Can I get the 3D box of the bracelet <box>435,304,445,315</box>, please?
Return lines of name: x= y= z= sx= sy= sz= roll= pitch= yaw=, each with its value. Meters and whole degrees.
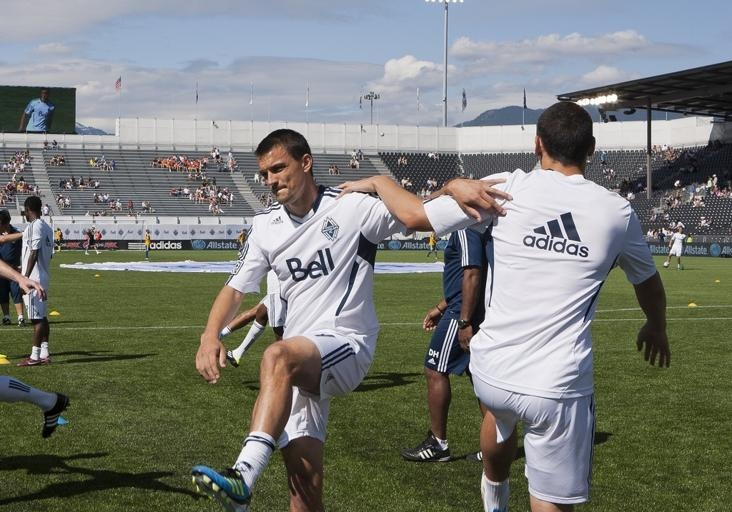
bracelet: x=0.795 y=0.585 z=9.531 sx=0.117 sy=0.053 sz=0.160 roll=2 pitch=2 yaw=6

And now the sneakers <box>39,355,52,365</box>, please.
sneakers: x=-4.498 y=1.466 z=12.337 sx=0.108 sy=0.099 sz=0.174 roll=1 pitch=-8 yaw=-15

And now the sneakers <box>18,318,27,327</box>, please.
sneakers: x=-6.349 y=1.231 z=16.223 sx=0.111 sy=0.137 sz=0.319 roll=0 pitch=-3 yaw=-12

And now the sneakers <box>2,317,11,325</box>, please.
sneakers: x=-6.632 y=1.206 z=16.269 sx=0.093 sy=0.113 sz=0.264 roll=0 pitch=-6 yaw=-29

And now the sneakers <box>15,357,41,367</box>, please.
sneakers: x=-4.694 y=1.483 z=12.236 sx=0.343 sy=0.126 sz=0.122 roll=4 pitch=-1 yaw=-17

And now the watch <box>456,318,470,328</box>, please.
watch: x=0.941 y=0.672 z=8.626 sx=0.067 sy=0.056 sz=0.094 roll=-4 pitch=-5 yaw=45
